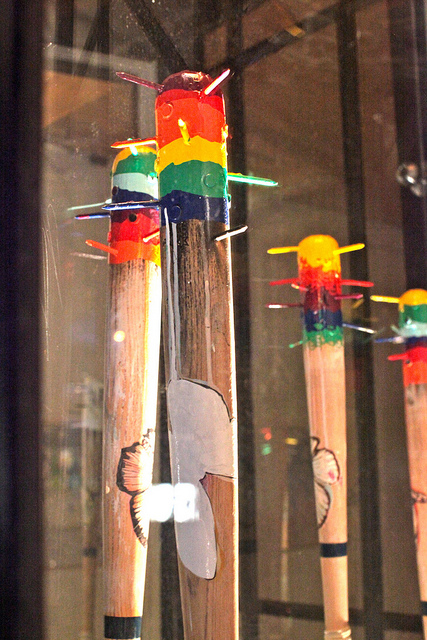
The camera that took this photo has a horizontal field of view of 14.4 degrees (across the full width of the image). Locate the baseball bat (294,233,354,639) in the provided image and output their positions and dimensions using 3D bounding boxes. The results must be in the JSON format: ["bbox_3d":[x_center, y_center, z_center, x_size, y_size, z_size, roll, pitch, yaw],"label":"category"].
[{"bbox_3d":[0.151,0.155,2.338,0.070,0.556,0.072,-1,-4,3],"label":"baseball bat"}]

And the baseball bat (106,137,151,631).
[{"bbox_3d":[-0.114,0.124,2.242,0.059,0.557,0.074,0,-4,-2],"label":"baseball bat"}]
